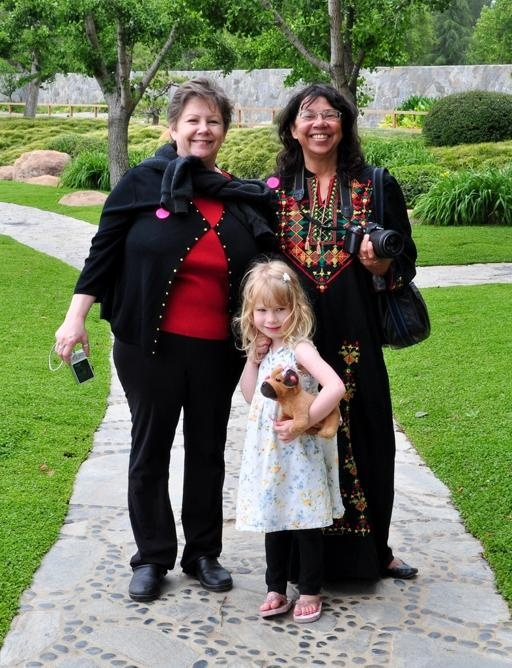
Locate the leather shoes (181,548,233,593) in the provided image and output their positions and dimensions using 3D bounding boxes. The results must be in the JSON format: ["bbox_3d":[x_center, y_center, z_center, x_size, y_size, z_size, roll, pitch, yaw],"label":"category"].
[{"bbox_3d":[-0.172,0.842,2.221,0.081,0.068,0.207,-2,-1,-32],"label":"leather shoes"}]

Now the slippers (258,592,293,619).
[{"bbox_3d":[0.060,0.859,1.977,0.053,0.048,0.133,-3,-11,8],"label":"slippers"}]

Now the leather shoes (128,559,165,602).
[{"bbox_3d":[-0.368,0.833,2.116,0.087,0.079,0.219,0,-10,-7],"label":"leather shoes"}]

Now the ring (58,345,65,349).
[{"bbox_3d":[-0.613,0.042,1.988,0.028,0.013,0.007,4,8,24],"label":"ring"}]

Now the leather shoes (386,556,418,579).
[{"bbox_3d":[0.529,0.856,2.288,0.147,0.053,0.055,-13,-11,43],"label":"leather shoes"}]

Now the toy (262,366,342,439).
[{"bbox_3d":[0.144,0.209,1.898,0.282,0.190,0.168,9,-12,-27],"label":"toy"}]

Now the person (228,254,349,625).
[{"bbox_3d":[0.116,0.342,1.993,0.363,1.141,0.347,1,8,-2],"label":"person"}]

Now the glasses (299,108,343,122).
[{"bbox_3d":[0.205,-0.704,2.034,0.132,0.043,0.037,1,7,-3],"label":"glasses"}]

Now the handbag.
[{"bbox_3d":[0.461,-0.245,2.088,0.218,0.628,0.306,6,9,31],"label":"handbag"}]

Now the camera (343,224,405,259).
[{"bbox_3d":[0.370,-0.282,1.930,0.129,0.074,0.131,-1,6,-26],"label":"camera"}]
